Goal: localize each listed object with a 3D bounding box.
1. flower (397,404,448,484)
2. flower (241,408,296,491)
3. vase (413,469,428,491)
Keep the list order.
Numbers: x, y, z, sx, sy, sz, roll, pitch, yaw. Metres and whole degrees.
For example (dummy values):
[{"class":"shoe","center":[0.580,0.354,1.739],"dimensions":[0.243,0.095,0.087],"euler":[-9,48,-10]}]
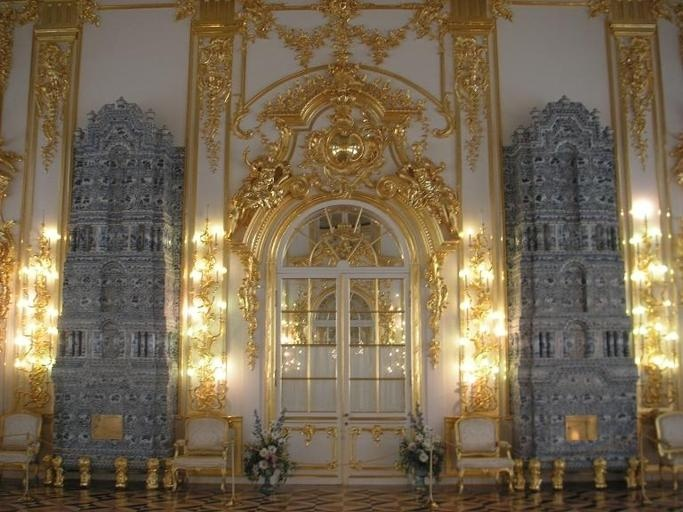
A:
[{"class":"flower","center":[1.241,2.984,19.252],"dimensions":[0.736,1.303,0.779],"euler":[-1,-13,3]},{"class":"flower","center":[-1.150,3.113,19.326],"dimensions":[0.772,1.336,0.686],"euler":[0,-13,-3]},{"class":"vase","center":[1.247,3.552,19.156],"dimensions":[0.187,0.363,0.252],"euler":[-1,-13,3]}]
